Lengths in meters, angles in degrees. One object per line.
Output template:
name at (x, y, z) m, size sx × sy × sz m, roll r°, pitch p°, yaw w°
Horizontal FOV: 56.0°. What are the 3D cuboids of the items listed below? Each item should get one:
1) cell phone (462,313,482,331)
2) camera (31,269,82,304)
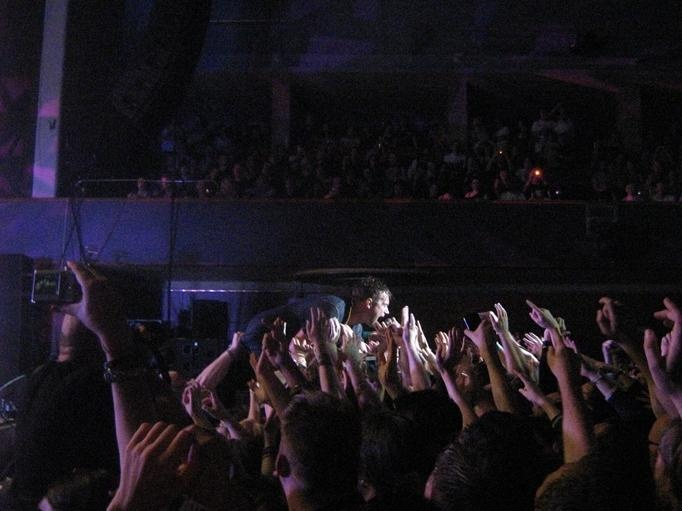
cell phone at (0.793, 0.395, 3.885) m, size 0.104 × 0.102 × 0.024 m, roll 43°, pitch -23°, yaw -26°
camera at (-1.658, 0.185, 3.776) m, size 0.307 × 0.222 × 0.185 m, roll 0°, pitch -1°, yaw -2°
